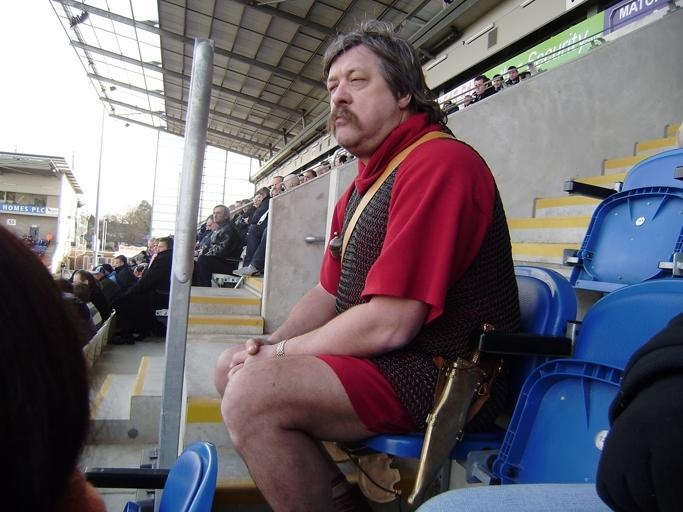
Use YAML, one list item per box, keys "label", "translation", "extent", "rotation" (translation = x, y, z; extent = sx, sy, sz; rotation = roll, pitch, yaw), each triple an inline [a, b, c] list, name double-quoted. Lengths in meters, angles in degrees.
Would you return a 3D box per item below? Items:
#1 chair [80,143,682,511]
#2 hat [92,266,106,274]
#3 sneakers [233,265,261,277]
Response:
- label: "chair"
  translation: [0.027, 0.192, 1.524]
  extent: [1.152, 1.312, 0.913]
  rotation: [8, -15, -12]
- label: "hat"
  translation: [-4.467, 0.269, 8.288]
  extent: [0.178, 0.103, 0.266]
  rotation: [0, 3, -3]
- label: "sneakers"
  translation: [-1.344, 0.210, 6.197]
  extent: [0.408, 0.190, 0.162]
  rotation: [2, 0, 7]
